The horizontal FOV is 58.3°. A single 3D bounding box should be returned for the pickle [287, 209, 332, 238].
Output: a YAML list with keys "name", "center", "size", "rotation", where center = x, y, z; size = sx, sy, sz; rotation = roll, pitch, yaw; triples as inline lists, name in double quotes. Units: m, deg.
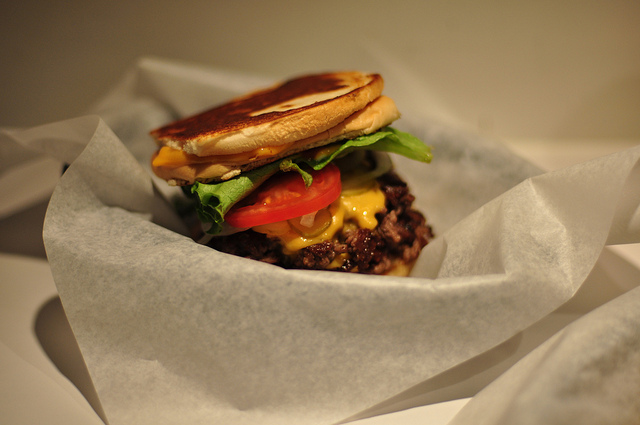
- name: "pickle"
  center: [-0.036, 0.062, 3.281]
  size: [0.185, 0.053, 0.182]
  rotation: [-41, 93, -23]

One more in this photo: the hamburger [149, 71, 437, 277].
- name: "hamburger"
  center: [-0.101, -0.220, 3.729]
  size: [1.771, 1.717, 1.065]
  rotation: [-4, 98, 17]
